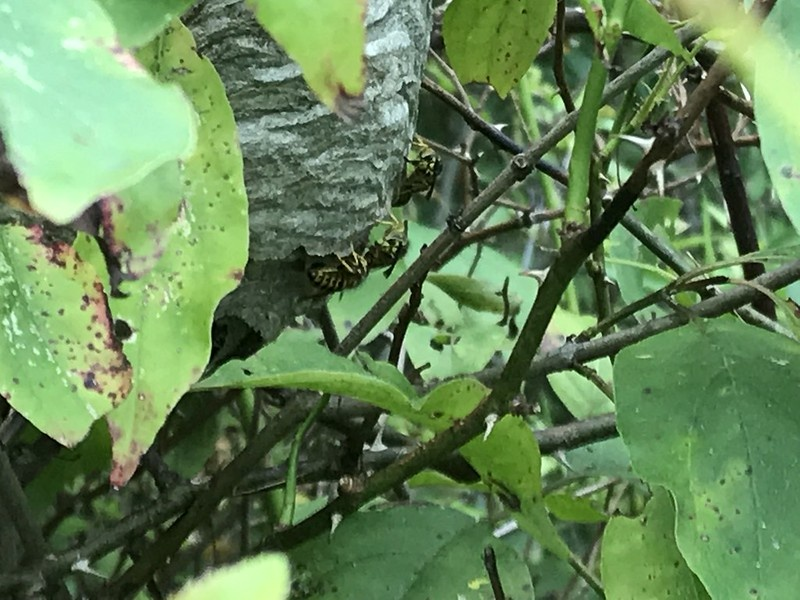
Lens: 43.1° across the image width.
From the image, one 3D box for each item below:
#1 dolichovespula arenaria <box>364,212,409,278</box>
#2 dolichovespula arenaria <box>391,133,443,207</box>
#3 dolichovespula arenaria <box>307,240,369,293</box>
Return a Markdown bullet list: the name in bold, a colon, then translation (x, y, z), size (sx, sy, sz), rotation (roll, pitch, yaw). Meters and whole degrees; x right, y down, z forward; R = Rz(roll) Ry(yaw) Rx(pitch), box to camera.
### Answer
- **dolichovespula arenaria**: translation (-0.009, -0.037, 0.734), size (0.038, 0.017, 0.039), rotation (-15, 11, 43)
- **dolichovespula arenaria**: translation (0.020, -0.090, 0.715), size (0.037, 0.049, 0.035), rotation (19, -16, -17)
- **dolichovespula arenaria**: translation (-0.036, -0.020, 0.568), size (0.025, 0.026, 0.080), rotation (-14, -1, -3)
